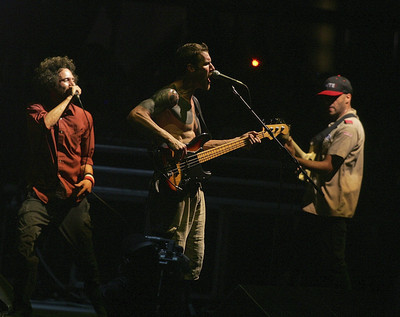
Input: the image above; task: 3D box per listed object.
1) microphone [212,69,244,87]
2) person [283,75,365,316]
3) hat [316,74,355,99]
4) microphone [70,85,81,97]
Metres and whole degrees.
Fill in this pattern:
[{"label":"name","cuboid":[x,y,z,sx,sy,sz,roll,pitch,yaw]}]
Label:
[{"label":"microphone","cuboid":[0.219,-0.662,3.592,0.251,0.062,0.073,24,44,12]},{"label":"person","cuboid":[1.130,0.316,3.805,0.654,1.704,0.272,2,0,4]},{"label":"hat","cuboid":[1.197,-0.619,3.785,0.244,0.154,0.174,0,11,-16]},{"label":"microphone","cuboid":[-0.977,-0.525,3.402,0.067,0.094,0.035,13,-20,-29]}]
